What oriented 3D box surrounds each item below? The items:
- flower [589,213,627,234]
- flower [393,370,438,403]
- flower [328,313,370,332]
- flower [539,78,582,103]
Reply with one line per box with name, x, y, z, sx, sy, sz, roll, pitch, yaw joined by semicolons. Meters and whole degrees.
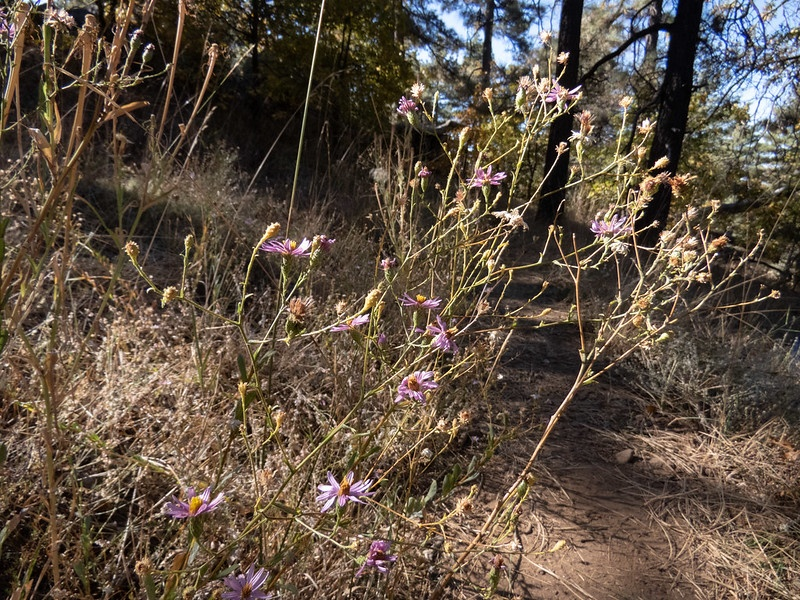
flower;0.819;-0.298;2.558;0.111;0.061;0.111;-32;24;-22
flower;0.050;0.293;2.213;0.103;0.060;0.117;-23;26;5
flower;-0.158;0.077;2.167;0.077;0.037;0.086;-21;8;15
flower;0.708;-0.906;2.839;0.150;0.087;0.385;20;23;11
